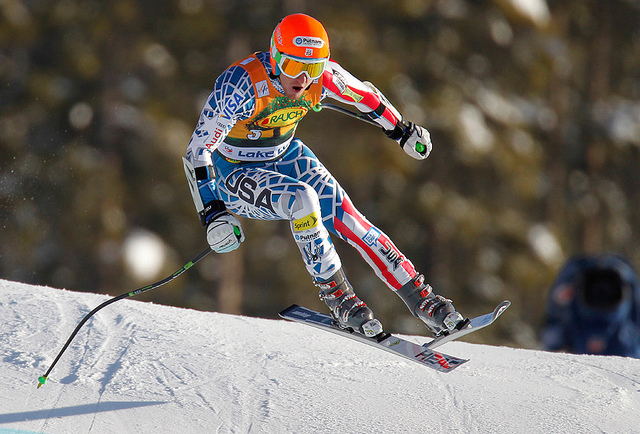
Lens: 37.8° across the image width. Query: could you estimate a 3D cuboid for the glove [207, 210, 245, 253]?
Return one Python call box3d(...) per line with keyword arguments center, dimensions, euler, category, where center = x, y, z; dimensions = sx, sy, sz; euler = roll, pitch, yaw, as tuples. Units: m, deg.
box3d(center=(-0.920, 0.094, 9.527), dimensions=(0.424, 0.434, 0.332), euler=(-7, 9, -26), category="glove")
